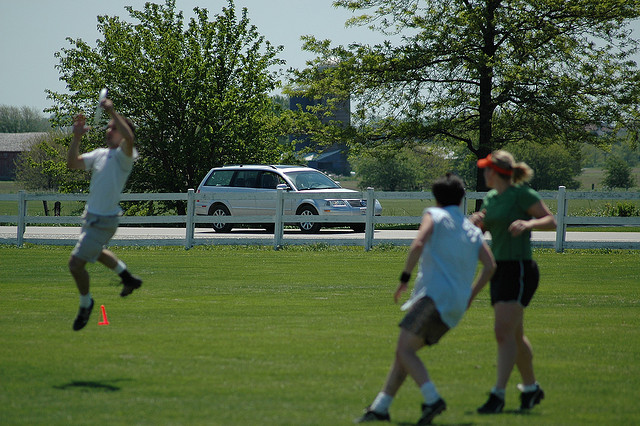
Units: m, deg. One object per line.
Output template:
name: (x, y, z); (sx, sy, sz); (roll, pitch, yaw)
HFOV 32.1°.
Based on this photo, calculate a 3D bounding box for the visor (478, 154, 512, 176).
visor: (4.008, -1.088, 25.686); (0.670, 0.167, 0.408); (20, 2, 2)

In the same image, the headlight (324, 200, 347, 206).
headlight: (0.523, -0.400, 38.666); (0.757, 0.198, 0.165); (0, 1, -1)

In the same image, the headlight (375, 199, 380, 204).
headlight: (1.902, -0.438, 37.351); (0.153, 0.054, 0.139); (21, 4, 9)
